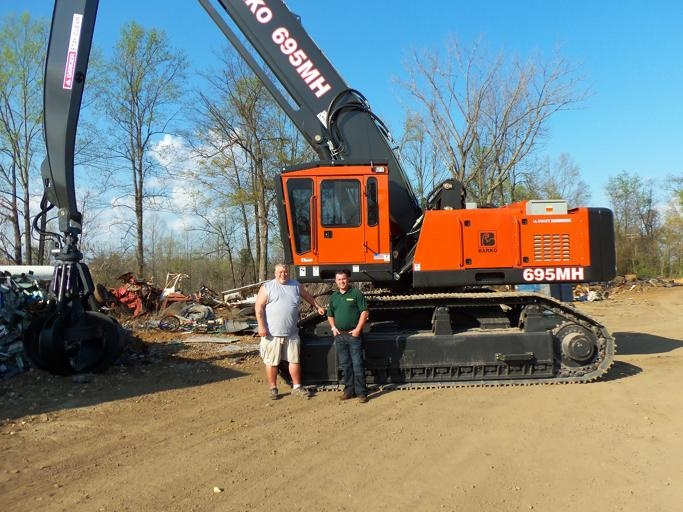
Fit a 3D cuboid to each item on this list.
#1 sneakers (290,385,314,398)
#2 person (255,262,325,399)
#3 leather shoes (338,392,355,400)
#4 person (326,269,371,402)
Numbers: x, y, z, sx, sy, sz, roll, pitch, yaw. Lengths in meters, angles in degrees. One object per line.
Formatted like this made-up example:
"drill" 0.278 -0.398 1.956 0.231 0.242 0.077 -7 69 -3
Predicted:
"sneakers" -0.631 2.197 8.209 0.352 0.180 0.164 -3 -6 30
"person" -0.908 1.194 8.171 0.893 2.168 0.517 -3 7 -11
"leather shoes" 0.082 2.235 8.029 0.255 0.130 0.094 17 -18 -20
"person" 0.137 1.264 8.015 0.545 1.973 0.734 -4 7 -17
